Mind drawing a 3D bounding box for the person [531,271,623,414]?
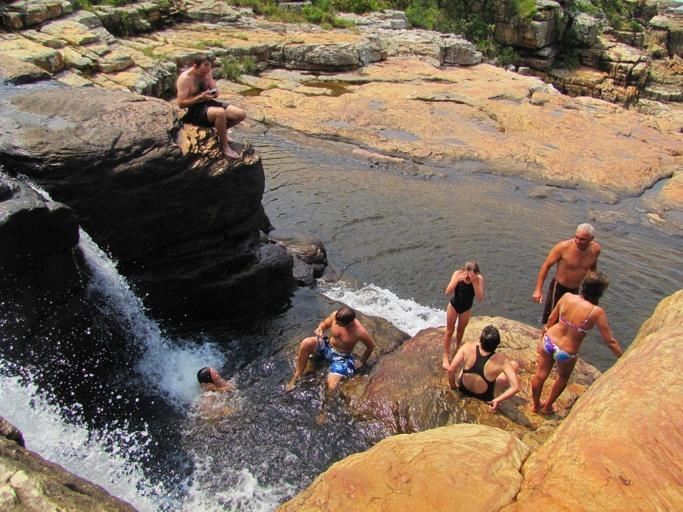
[{"bbox_3d":[3.106,1.254,7.231,0.926,2.152,1.195,13,43,22],"label":"person"}]

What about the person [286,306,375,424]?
[{"bbox_3d":[-0.129,1.484,8.458,1.138,1.343,1.294,17,29,15],"label":"person"}]

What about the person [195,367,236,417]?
[{"bbox_3d":[-1.985,2.018,8.423,0.485,0.637,0.906,-26,9,-7],"label":"person"}]

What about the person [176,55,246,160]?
[{"bbox_3d":[-2.093,-2.394,8.739,1.014,1.501,0.738,28,51,35],"label":"person"}]

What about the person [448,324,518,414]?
[{"bbox_3d":[1.931,1.471,7.302,0.981,1.089,0.613,24,49,33],"label":"person"}]
